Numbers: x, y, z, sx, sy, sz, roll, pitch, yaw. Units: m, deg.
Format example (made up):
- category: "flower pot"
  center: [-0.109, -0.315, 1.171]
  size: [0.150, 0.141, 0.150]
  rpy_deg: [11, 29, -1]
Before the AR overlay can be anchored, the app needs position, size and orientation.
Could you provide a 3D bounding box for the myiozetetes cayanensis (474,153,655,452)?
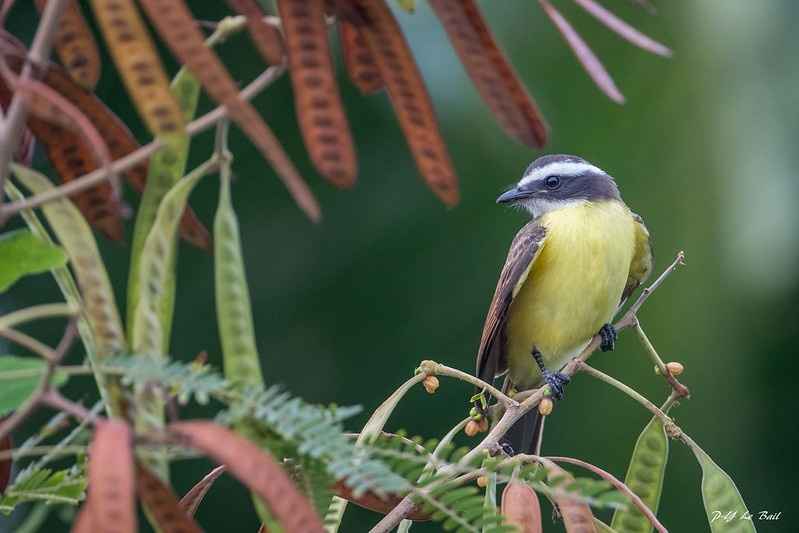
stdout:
- category: "myiozetetes cayanensis"
  center: [0.548, 0.044, 3.096]
  size: [0.624, 1.051, 0.889]
  rpy_deg: [1, 1, 3]
